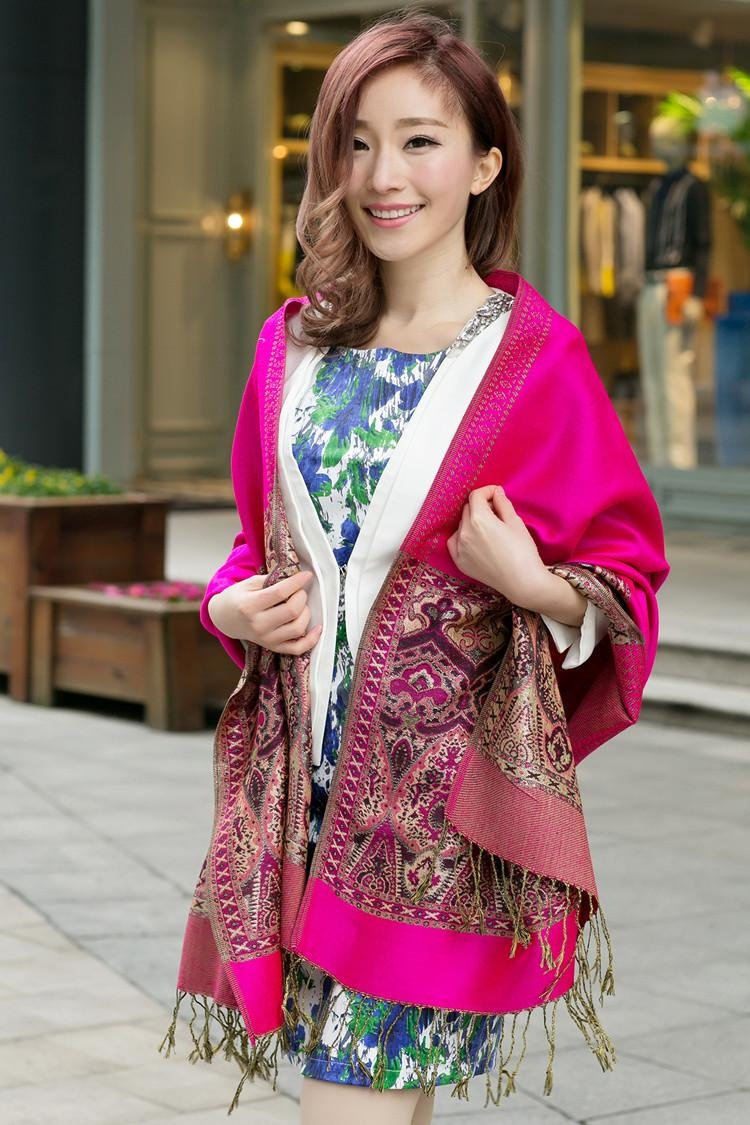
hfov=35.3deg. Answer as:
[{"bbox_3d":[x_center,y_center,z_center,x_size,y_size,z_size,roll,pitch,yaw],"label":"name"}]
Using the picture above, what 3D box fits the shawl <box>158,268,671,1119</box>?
[{"bbox_3d":[0.022,0.106,1.051,0.448,0.743,0.279,3,7,11],"label":"shawl"}]
